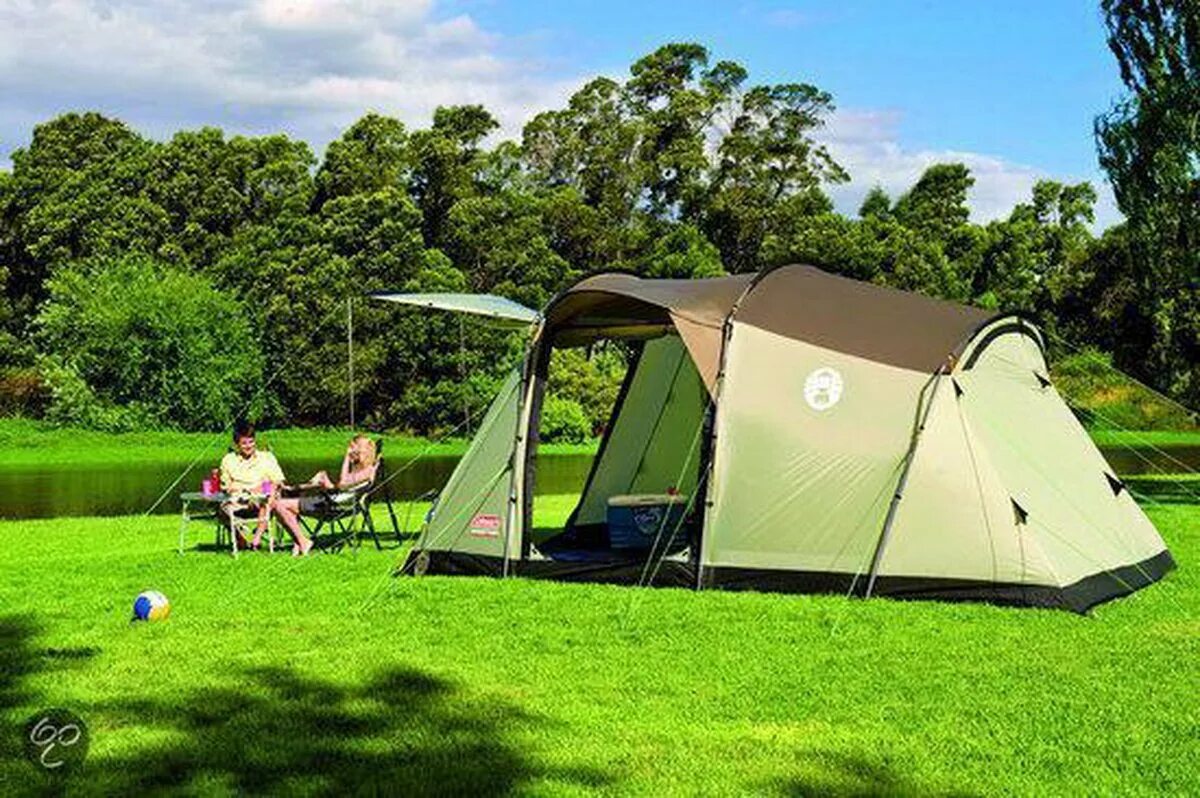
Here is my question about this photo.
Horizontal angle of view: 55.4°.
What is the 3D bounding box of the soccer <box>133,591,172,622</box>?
[{"bbox_3d":[-5.121,2.344,12.959,0.378,0.257,0.329,-3,13,-14],"label":"soccer"}]
